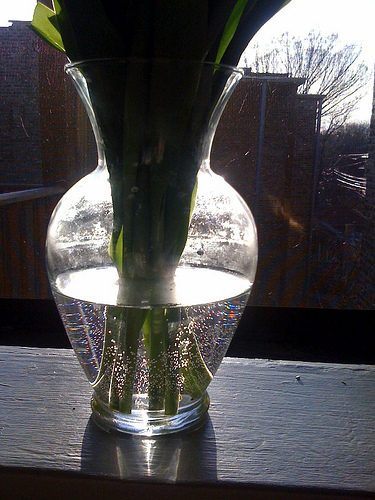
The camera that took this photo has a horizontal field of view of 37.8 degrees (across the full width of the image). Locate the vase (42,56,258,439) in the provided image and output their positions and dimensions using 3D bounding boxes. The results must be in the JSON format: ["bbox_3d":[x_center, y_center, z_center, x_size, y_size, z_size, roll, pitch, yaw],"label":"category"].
[{"bbox_3d":[-0.031,0.003,0.475,0.181,0.309,0.143,2,11,7],"label":"vase"}]

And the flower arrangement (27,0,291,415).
[{"bbox_3d":[-0.045,-0.035,0.454,0.223,0.340,0.121,4,12,14],"label":"flower arrangement"}]
